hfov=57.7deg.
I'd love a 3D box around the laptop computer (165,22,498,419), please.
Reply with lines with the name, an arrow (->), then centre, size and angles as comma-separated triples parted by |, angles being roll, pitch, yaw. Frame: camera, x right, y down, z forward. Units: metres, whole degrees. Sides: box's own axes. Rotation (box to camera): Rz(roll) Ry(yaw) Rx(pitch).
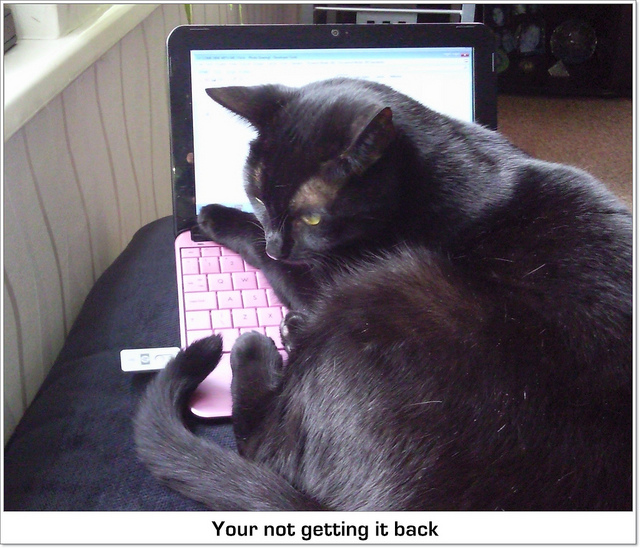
laptop computer -> 0.024, -0.089, 0.730 | 0.494, 0.299, 0.404 | -8, 48, -12

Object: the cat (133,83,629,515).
cat -> 0.077, 0.009, 0.692 | 0.581, 0.381, 0.381 | 2, 29, 3
